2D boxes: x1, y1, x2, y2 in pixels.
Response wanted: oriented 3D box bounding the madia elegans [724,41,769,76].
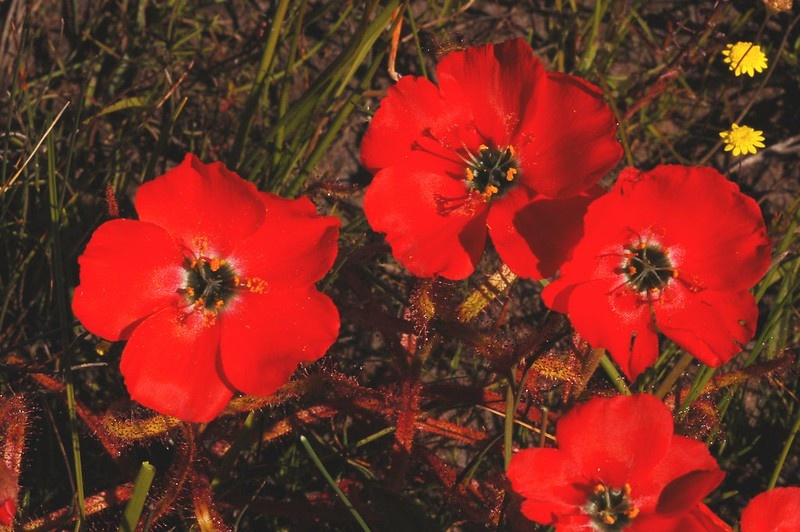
[{"bbox_3d":[1.422,-0.859,3.395,0.173,0.146,0.197,7,27,13],"label":"madia elegans"}]
